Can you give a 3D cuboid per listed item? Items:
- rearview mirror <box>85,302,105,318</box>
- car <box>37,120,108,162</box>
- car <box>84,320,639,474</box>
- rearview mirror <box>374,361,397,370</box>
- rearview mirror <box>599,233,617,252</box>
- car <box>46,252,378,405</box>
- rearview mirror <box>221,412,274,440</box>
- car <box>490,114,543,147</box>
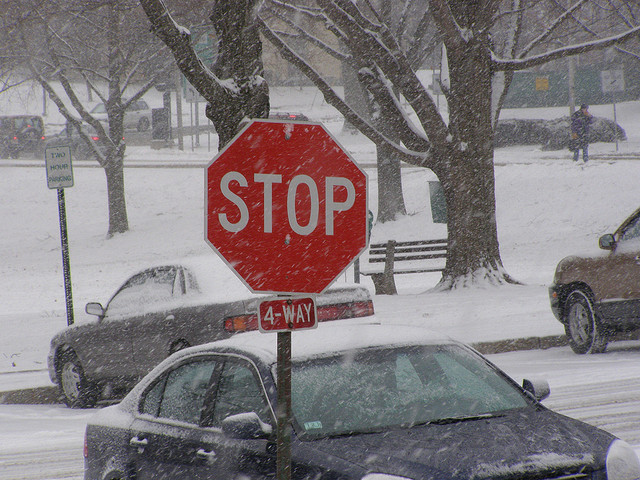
[{"bbox_3d":[-4.199,1.331,26.684,0.333,0.307,0.428,-6,4,-9],"label":"rearview mirror"},{"bbox_3d":[-10.229,-3.956,59.265,2.619,1.500,5.183,-6,4,-14],"label":"car"},{"bbox_3d":[0.117,2.711,22.168,6.406,2.192,3.214,-8,-10,36],"label":"car"},{"bbox_3d":[0.994,1.958,22.111,0.328,0.119,0.035,-6,4,-12],"label":"rearview mirror"},{"bbox_3d":[5.405,0.087,26.886,0.321,0.336,0.251,-4,4,5],"label":"rearview mirror"},{"bbox_3d":[-2.407,1.688,25.888,5.795,2.082,2.678,-1,1,44],"label":"car"},{"bbox_3d":[-1.136,2.859,21.689,0.636,0.351,0.389,7,-4,3],"label":"rearview mirror"},{"bbox_3d":[7.711,-4.308,56.517,1.707,1.168,7.687,-4,4,7],"label":"car"}]
